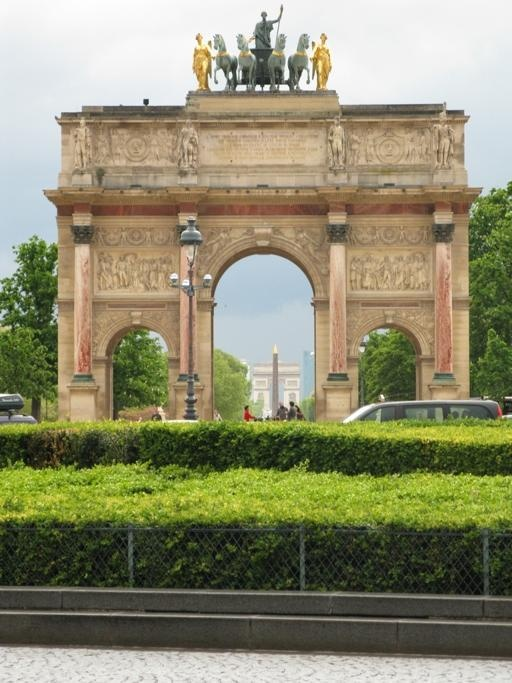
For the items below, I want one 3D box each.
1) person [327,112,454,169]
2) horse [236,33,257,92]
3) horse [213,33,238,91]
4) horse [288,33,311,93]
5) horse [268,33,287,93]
[{"bbox_3d":[4.215,-5.731,65.782,3.670,1.529,0.785,1,-3,0],"label":"person"},{"bbox_3d":[-0.114,-8.332,68.079,0.437,1.655,2.061,-3,-3,9],"label":"horse"},{"bbox_3d":[-0.730,-8.274,67.491,0.359,1.602,2.005,1,-2,21],"label":"horse"},{"bbox_3d":[1.488,-8.318,67.870,0.442,1.665,2.098,-1,-1,-14],"label":"horse"},{"bbox_3d":[0.808,-8.298,67.631,0.502,1.736,1.445,0,-3,0],"label":"horse"}]
